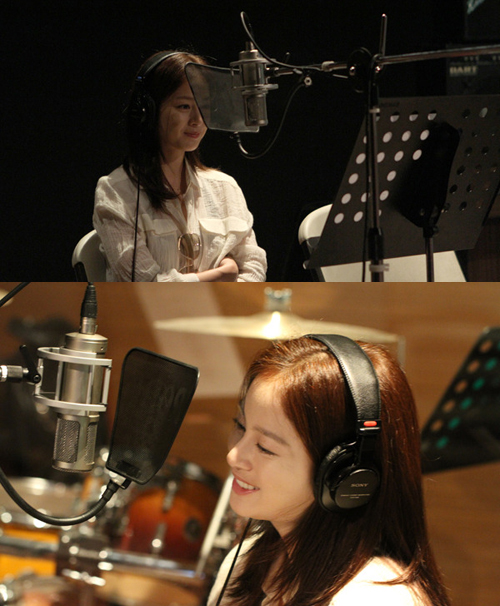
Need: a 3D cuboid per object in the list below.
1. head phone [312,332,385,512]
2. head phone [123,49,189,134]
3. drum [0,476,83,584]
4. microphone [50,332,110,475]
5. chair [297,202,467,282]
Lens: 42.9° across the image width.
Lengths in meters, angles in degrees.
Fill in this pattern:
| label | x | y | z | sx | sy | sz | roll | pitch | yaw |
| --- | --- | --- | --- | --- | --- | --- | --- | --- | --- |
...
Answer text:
| label | x | y | z | sx | sy | sz | roll | pitch | yaw |
| --- | --- | --- | --- | --- | --- | --- | --- | --- | --- |
| head phone | 0.147 | 0.182 | 0.930 | 0.093 | 0.222 | 0.145 | 4 | 12 | 7 |
| head phone | -0.176 | -0.409 | 1.222 | 0.056 | 0.146 | 0.137 | 26 | 22 | 24 |
| drum | -0.434 | 0.463 | 1.338 | 0.219 | 0.210 | 0.210 | 4 | -18 | -9 |
| microphone | -0.260 | 0.153 | 0.984 | 0.086 | 0.207 | 0.076 | 1 | 12 | -12 |
| chair | 0.255 | -0.079 | 1.295 | 0.197 | 0.212 | 0.263 | -9 | 3 | -15 |
